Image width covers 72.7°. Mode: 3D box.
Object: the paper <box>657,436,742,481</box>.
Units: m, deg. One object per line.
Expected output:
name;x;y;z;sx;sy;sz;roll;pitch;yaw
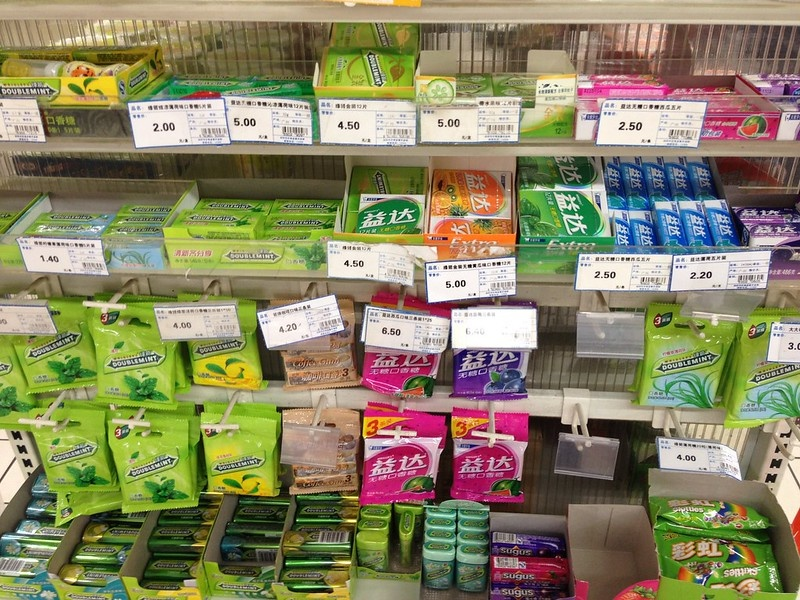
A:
paper;1.268;0.683;2.328;0.385;0.262;0.039;2;-11;6

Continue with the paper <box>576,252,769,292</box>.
paper;0.966;-0.100;1.936;0.665;0.166;0.049;-3;31;5
